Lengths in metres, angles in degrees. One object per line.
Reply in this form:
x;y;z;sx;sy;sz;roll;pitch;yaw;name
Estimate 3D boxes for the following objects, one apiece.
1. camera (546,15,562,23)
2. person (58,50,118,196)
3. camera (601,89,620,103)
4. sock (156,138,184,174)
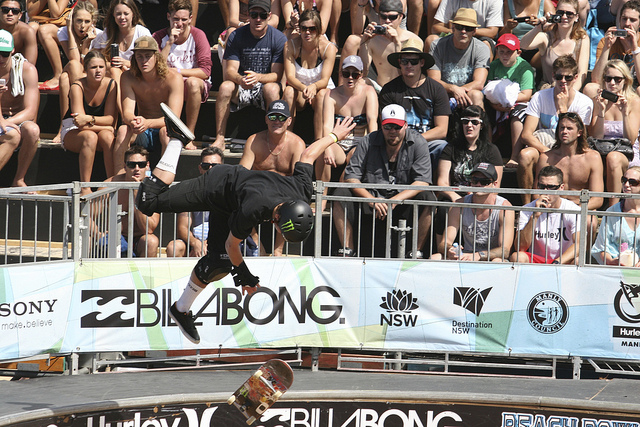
4.084;-3.370;23.980;0.305;0.128;0.102;3;2;27;camera
-4.004;-1.685;23.744;0.990;2.248;0.789;2;1;-1;person
4.885;-1.952;23.099;0.296;0.193;0.131;1;2;-15;camera
-2.272;-0.867;20.659;0.355;0.523;0.226;17;5;-42;sock
